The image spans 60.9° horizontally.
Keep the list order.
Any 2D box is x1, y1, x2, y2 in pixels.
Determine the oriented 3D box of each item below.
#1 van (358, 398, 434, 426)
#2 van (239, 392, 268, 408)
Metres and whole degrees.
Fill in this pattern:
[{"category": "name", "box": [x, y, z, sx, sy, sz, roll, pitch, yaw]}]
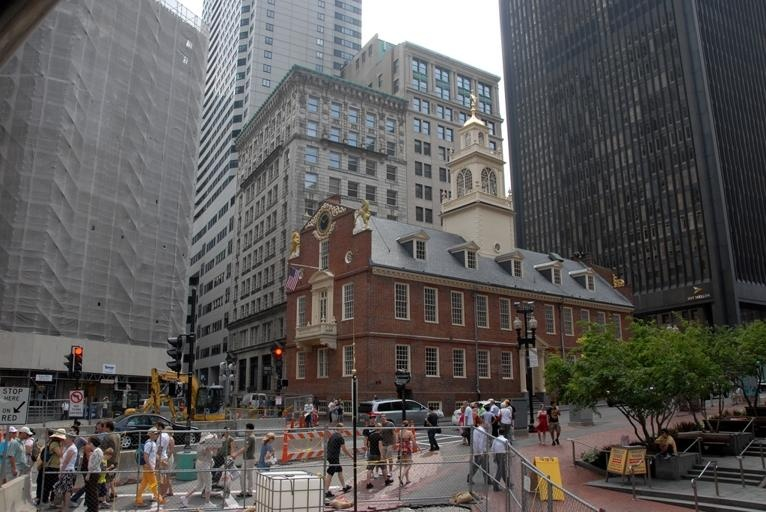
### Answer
[{"category": "van", "box": [0.401, 10.909, 46.016, 6.194, 2.118, 2.777, 3, -10, -30]}, {"category": "van", "box": [-12.925, 14.650, 65.978, 2.827, 1.596, 1.747, -2, -10, 39]}]
